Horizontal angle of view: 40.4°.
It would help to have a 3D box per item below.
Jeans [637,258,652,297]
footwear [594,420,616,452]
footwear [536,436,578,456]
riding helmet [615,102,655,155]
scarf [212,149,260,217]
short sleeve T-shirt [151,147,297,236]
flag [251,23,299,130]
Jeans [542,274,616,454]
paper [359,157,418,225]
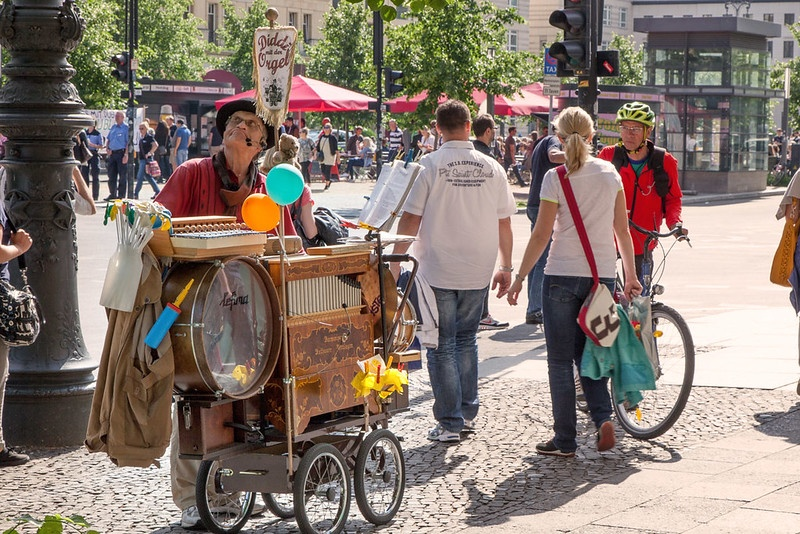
[{"bbox_3d":[2.158,0.063,9.563,0.125,0.434,0.161,0,-18,9],"label":"Jeans"},{"bbox_3d":[1.590,1.297,8.398,0.126,0.259,0.112,1,12,-9],"label":"footwear"},{"bbox_3d":[1.216,1.380,8.462,0.313,0.122,0.122,3,2,21],"label":"footwear"},{"bbox_3d":[2.177,-1.271,9.919,0.367,0.453,0.471,2,-9,26],"label":"riding helmet"},{"bbox_3d":[-1.124,-0.556,7.383,0.336,0.415,0.171,0,3,-19],"label":"scarf"},{"bbox_3d":[-1.272,-0.523,7.311,0.698,0.451,0.283,-2,10,-8],"label":"short sleeve T-shirt"},{"bbox_3d":[-0.807,-1.230,7.093,0.344,0.670,0.250,1,11,11],"label":"flag"},{"bbox_3d":[1.383,0.733,8.442,0.535,1.346,0.441,1,10,7],"label":"Jeans"},{"bbox_3d":[-0.084,-0.569,8.418,0.502,0.504,0.138,11,-19,40],"label":"paper"}]
